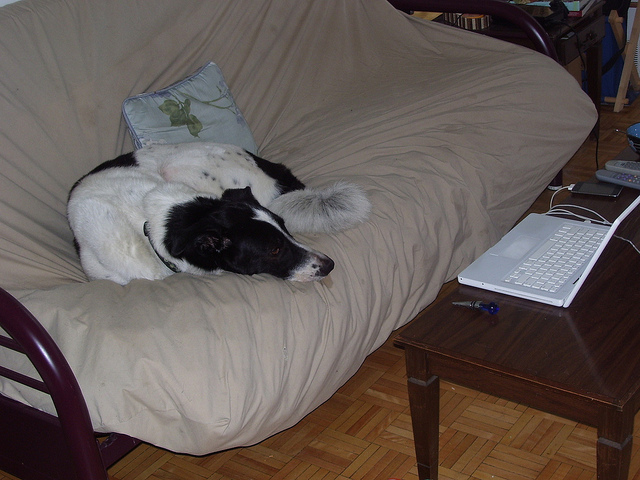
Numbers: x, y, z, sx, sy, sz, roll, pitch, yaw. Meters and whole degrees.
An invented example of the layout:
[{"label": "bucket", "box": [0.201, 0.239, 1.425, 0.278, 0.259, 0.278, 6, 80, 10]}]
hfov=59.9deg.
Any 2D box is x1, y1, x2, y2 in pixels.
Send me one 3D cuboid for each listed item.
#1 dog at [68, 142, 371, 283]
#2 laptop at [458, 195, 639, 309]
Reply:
[{"label": "dog", "box": [-0.432, -0.108, 2.027, 0.812, 0.291, 0.649, 11, 34, 6]}, {"label": "laptop", "box": [0.743, 0.059, 1.833, 0.427, 0.296, 0.486, 17, 38, 34]}]
